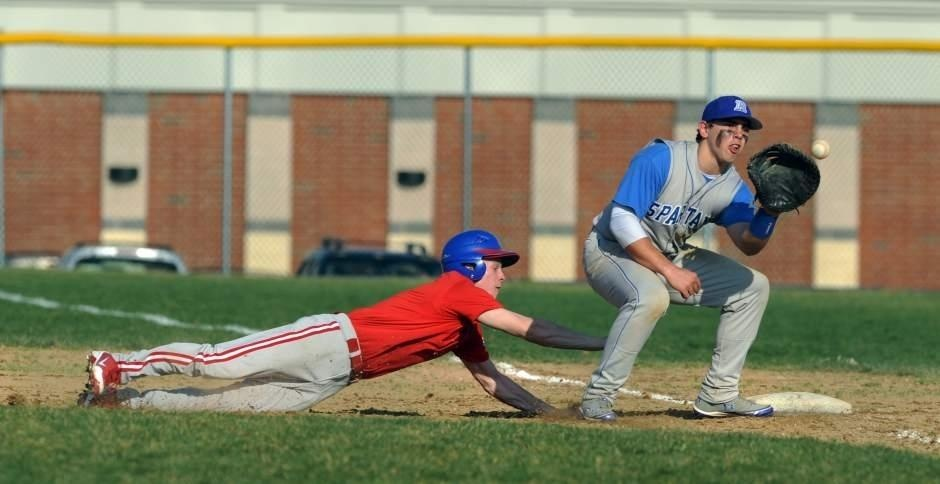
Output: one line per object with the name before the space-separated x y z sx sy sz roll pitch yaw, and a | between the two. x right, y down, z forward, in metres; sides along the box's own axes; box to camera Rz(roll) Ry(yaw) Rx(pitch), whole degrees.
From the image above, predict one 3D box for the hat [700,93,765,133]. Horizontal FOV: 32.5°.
hat | 3.335 -1.643 20.677 0.719 0.409 0.254 1 2 7
